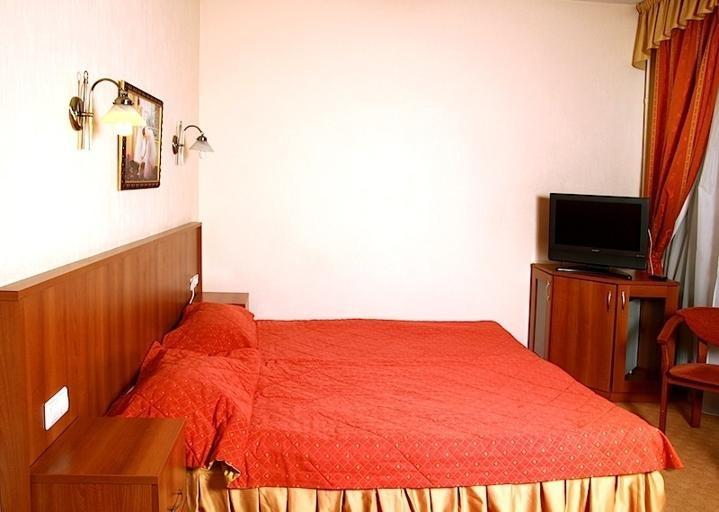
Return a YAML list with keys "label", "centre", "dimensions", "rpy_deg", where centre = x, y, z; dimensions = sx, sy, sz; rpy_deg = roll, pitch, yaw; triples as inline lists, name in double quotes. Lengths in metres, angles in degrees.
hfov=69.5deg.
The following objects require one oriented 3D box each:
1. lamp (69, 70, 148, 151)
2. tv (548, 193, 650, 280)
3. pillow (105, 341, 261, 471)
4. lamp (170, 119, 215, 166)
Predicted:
- label: "lamp"
  centre: [-1.195, -0.702, 2.526]
  dimensions: [0.303, 0.361, 0.250]
  rpy_deg: [-2, 9, -8]
- label: "tv"
  centre: [2.159, -0.176, 4.668]
  dimensions: [0.744, 0.660, 0.325]
  rpy_deg: [0, 0, 23]
- label: "pillow"
  centre: [-0.827, 0.761, 2.587]
  dimensions: [0.531, 0.147, 0.606]
  rpy_deg: [13, 23, -8]
- label: "lamp"
  centre: [-1.320, -0.897, 4.154]
  dimensions: [0.310, 0.333, 0.233]
  rpy_deg: [1, 7, -9]
